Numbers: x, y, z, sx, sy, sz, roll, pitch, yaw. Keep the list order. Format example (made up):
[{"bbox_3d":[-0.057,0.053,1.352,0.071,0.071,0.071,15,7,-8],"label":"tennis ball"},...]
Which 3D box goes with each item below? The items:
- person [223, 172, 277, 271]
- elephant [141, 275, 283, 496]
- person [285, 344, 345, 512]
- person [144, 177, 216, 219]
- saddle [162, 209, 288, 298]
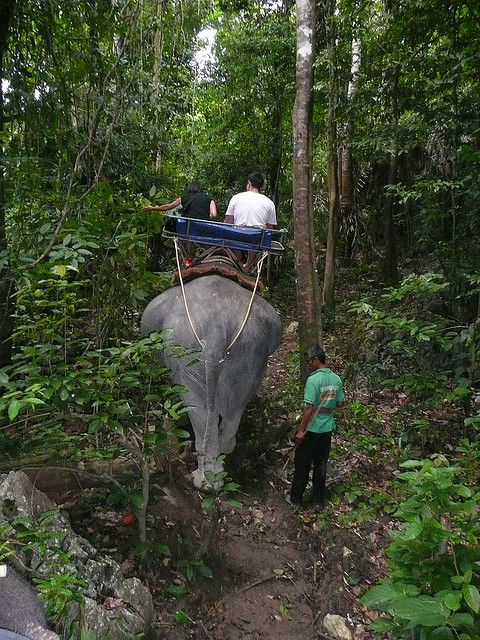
[{"bbox_3d":[0.067,-0.948,5.128,0.496,1.073,0.630,6,15,-9],"label":"person"},{"bbox_3d":[-0.286,0.319,4.648,1.115,1.572,2.175,0,12,-8],"label":"elephant"},{"bbox_3d":[0.640,0.924,4.176,0.423,1.389,0.331,2,10,-7],"label":"person"},{"bbox_3d":[-0.501,-1.171,4.783,0.497,0.398,1.054,4,9,7],"label":"person"},{"bbox_3d":[-0.160,-0.517,4.397,1.204,0.726,0.774,6,9,-12],"label":"saddle"}]
